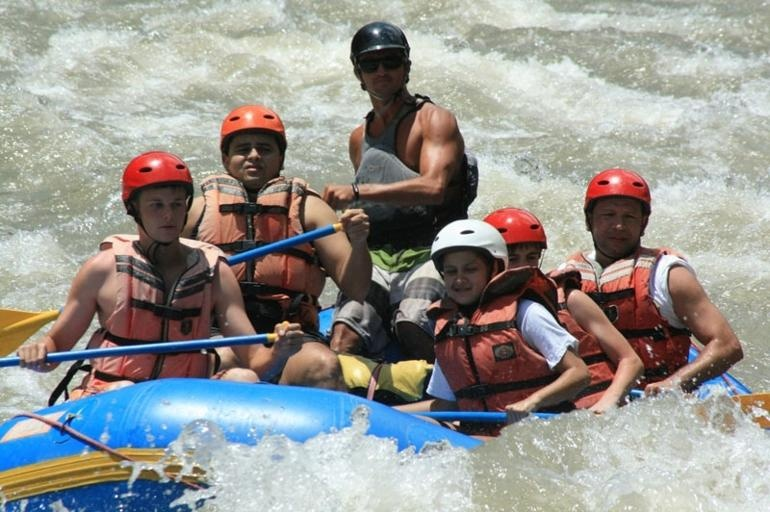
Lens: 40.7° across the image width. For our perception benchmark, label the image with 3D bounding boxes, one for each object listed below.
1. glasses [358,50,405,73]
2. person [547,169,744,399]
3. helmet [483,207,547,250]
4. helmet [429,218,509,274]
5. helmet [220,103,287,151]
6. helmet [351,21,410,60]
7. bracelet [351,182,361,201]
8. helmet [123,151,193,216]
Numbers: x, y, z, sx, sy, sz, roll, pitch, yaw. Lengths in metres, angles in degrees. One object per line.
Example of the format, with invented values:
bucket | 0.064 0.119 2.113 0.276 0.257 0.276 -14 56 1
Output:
glasses | -0.101 -1.730 9.336 0.239 0.240 0.071 -7 30 3
person | 2.110 0.285 9.191 1.049 1.511 1.887 25 57 -37
helmet | 0.978 -0.275 8.550 0.320 0.430 0.351 -1 61 0
helmet | 0.542 -0.108 8.195 0.385 0.371 0.478 5 19 45
helmet | -1.139 -1.111 8.886 0.342 0.480 0.350 -3 81 -6
helmet | -0.120 -1.919 9.415 0.326 0.407 0.313 -8 55 2
bracelet | -0.322 -0.537 8.701 0.083 0.127 0.128 -7 21 -10
helmet | -1.775 -0.586 8.212 0.403 0.537 0.484 1 49 -22
